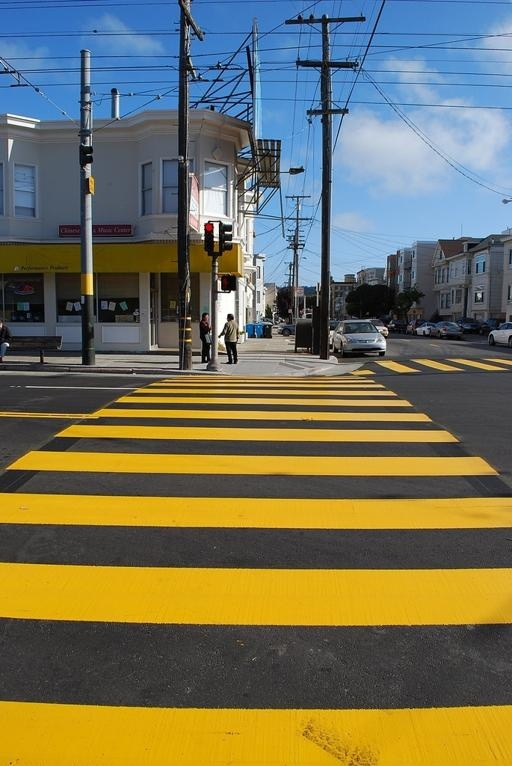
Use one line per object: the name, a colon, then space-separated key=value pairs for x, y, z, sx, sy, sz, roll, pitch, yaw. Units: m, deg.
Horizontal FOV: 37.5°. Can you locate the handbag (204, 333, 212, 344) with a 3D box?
handbag: x=-1.250 y=-1.155 z=19.909 sx=0.257 sy=0.346 sz=0.303 roll=-2 pitch=-6 yaw=-5

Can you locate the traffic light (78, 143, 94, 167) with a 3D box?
traffic light: x=-3.902 y=-5.211 z=17.372 sx=0.234 sy=0.491 sz=0.388 roll=0 pitch=6 yaw=-6

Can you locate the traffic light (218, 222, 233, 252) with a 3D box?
traffic light: x=-0.693 y=-3.234 z=16.923 sx=0.288 sy=0.711 sz=1.014 roll=0 pitch=6 yaw=-5

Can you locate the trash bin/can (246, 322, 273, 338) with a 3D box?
trash bin/can: x=0.364 y=-2.993 z=43.729 sx=0.923 sy=0.990 sz=1.339 roll=-1 pitch=5 yaw=28
